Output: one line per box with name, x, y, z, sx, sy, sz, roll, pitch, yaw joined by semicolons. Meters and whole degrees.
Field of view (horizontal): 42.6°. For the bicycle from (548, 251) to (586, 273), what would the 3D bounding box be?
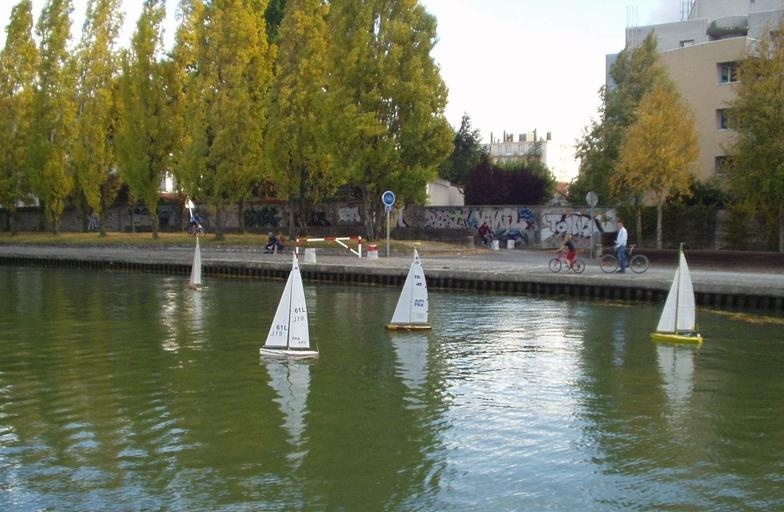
bicycle;9.559;0.342;55.013;1.891;1.303;1.007;1;5;10
